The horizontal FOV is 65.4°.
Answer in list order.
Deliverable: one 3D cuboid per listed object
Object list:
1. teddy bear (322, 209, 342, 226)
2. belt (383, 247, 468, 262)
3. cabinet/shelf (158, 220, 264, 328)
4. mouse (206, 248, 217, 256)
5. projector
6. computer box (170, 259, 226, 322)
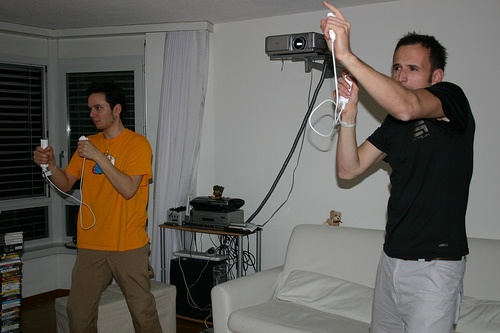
[{"bbox_3d":[0.842,0.523,3.973,0.148,0.145,0.171,13,-25,-15],"label":"teddy bear"},{"bbox_3d":[0.845,0.438,1.887,0.365,0.045,0.086,1,1,20],"label":"belt"},{"bbox_3d":[-0.340,0.921,4.073,1.140,0.964,0.578,5,4,41],"label":"cabinet/shelf"},{"bbox_3d":[-0.435,0.944,4.283,0.076,0.059,0.110,0,-7,2],"label":"mouse"},{"bbox_3d":[0.451,-1.077,3.688,0.529,0.333,0.361,7,17,34],"label":"projector"},{"bbox_3d":[-0.522,1.222,4.121,0.569,0.609,0.378,2,4,25],"label":"computer box"}]
